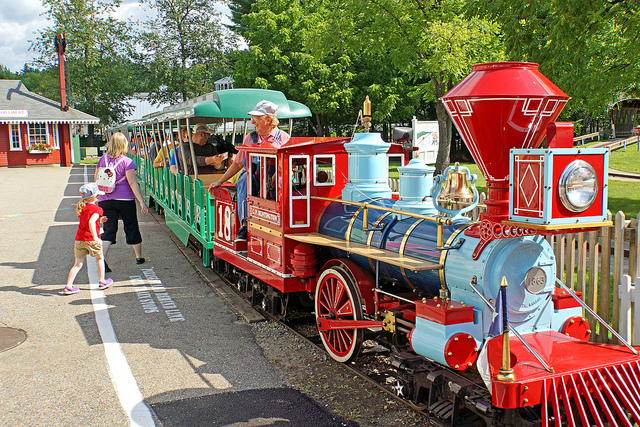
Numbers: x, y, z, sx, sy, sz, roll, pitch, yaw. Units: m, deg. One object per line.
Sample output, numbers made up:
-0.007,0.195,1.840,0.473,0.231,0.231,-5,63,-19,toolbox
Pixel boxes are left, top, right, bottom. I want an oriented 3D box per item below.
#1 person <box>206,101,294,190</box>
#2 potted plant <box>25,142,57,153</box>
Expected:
-0.929,-1.084,8.113,1.810,1.333,1.005,3,19,34,person
-20.329,-4.820,36.611,1.937,0.758,0.480,-12,18,-42,potted plant
